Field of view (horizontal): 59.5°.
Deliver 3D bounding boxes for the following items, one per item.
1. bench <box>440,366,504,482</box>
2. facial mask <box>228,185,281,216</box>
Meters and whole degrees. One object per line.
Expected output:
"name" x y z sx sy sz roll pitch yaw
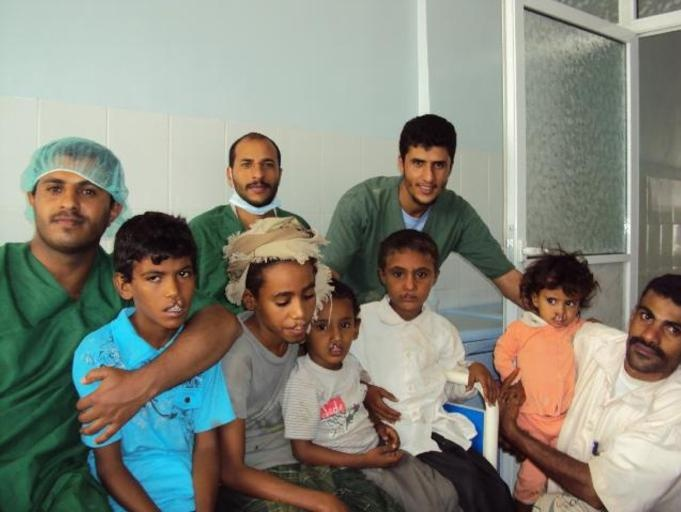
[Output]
"bench" 0.381 0.556 2.039 0.204 0.331 0.309 -1 0 -33
"facial mask" -0.347 -0.215 2.310 0.133 0.055 0.114 7 4 39
